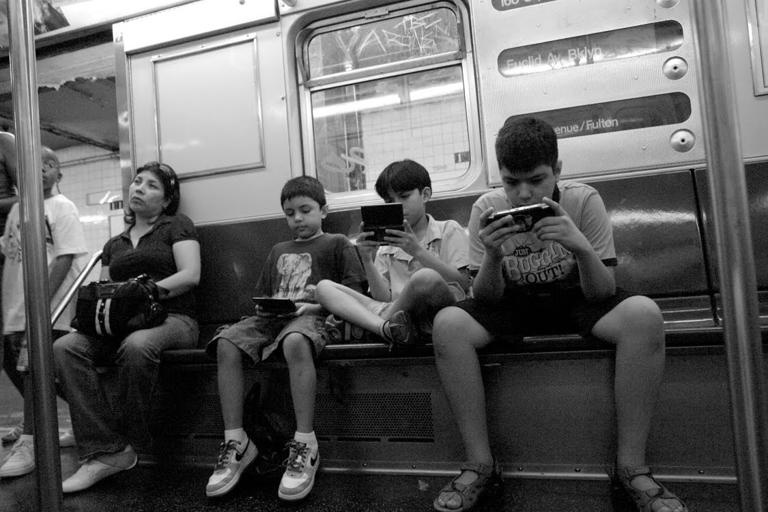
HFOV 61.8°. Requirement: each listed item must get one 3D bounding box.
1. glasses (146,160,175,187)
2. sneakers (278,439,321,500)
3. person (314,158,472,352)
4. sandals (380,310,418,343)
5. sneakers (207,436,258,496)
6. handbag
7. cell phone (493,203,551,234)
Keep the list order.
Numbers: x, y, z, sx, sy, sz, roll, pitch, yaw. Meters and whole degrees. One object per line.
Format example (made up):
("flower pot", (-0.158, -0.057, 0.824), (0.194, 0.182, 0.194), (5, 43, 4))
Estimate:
("glasses", (-1.348, -0.516, 3.989), (0.129, 0.167, 0.167), (-15, -2, 19))
("sneakers", (-0.381, 0.925, 2.788), (0.131, 0.196, 0.211), (-4, 3, 10))
("person", (0.088, -0.013, 3.248), (0.702, 1.050, 0.720), (-14, -23, 38))
("sandals", (0.070, 0.316, 2.873), (0.139, 0.102, 0.231), (-1, -1, 0))
("sneakers", (-0.700, 0.924, 2.885), (0.118, 0.141, 0.311), (-12, 12, 18))
("handbag", (-1.404, 0.261, 3.386), (0.441, 0.306, 0.225), (-4, -14, 12))
("cell phone", (0.569, -0.155, 2.636), (0.158, 0.130, 0.027), (-10, 43, 22))
